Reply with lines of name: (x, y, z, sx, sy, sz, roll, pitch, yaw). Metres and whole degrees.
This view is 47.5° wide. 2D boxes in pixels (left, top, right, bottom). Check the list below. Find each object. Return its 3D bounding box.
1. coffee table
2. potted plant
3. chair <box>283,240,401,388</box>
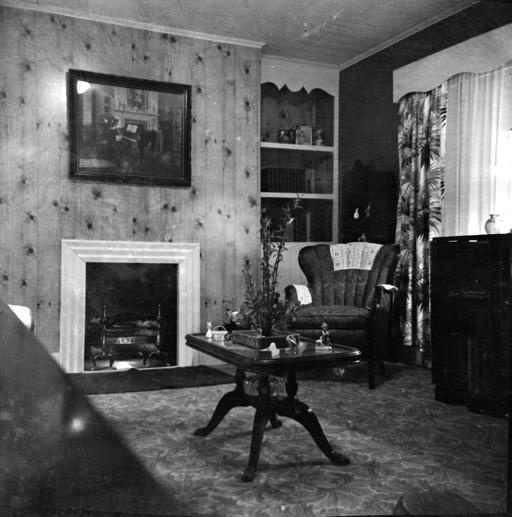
coffee table: (0.044, 0.237, 1.288, 0.342, 0.231, 0.303, -3, -6, 43)
potted plant: (0.032, 0.019, 1.279, 0.146, 0.295, 0.061, -1, 0, 0)
chair: (0.227, 0.126, 1.502, 0.275, 0.381, 0.248, -3, -7, 32)
